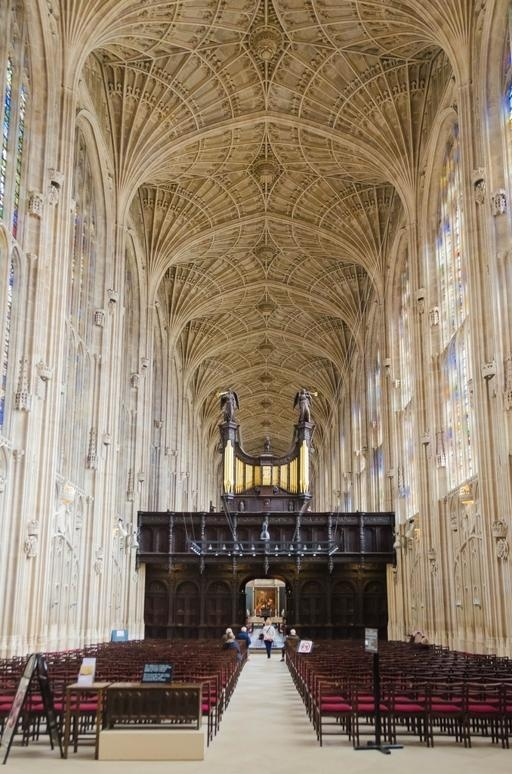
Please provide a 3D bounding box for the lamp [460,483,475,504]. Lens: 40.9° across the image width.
[{"bbox_3d":[6.435,3.252,20.962,0.528,0.652,0.561,3,-20,3],"label":"lamp"}]
